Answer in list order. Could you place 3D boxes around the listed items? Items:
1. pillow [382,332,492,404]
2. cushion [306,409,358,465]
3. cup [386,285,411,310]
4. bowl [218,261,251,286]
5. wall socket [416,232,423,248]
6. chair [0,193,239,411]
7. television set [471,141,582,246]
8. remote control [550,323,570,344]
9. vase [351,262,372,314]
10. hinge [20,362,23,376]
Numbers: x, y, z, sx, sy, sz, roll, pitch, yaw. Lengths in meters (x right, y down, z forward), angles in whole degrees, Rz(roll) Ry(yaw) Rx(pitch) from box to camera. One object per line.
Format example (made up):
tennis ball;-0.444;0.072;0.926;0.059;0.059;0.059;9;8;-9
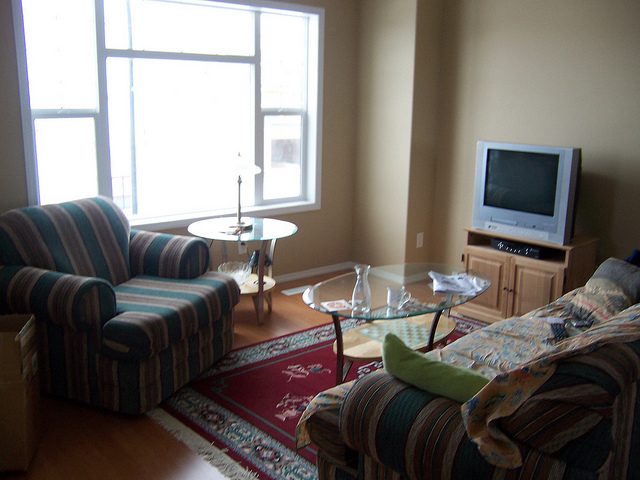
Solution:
pillow;0.426;0.514;1.976;0.271;0.107;0.284;17;-13;28
cushion;0.066;0.815;2.179;0.208;0.156;0.212;14;22;41
cup;0.455;0.333;3.025;0.146;0.157;0.102;4;-7;2
bowl;-0.653;0.230;3.919;0.182;0.068;0.179;2;24;-1
wall socket;0.980;-0.004;5.008;0.016;0.170;0.116;17;21;37
chair;-1.339;0.569;3.333;1.240;1.078;1.295;13;19;21
television set;1.624;-0.359;3.935;0.342;0.627;0.659;-11;17;-38
remote control;1.359;0.524;2.888;0.092;0.024;0.094;-18;33;-20
vase;0.249;0.328;3.017;0.121;0.310;0.122;19;-26;-39
hinge;-1.464;0.633;2.506;0.007;0.051;0.027;-6;15;-18
